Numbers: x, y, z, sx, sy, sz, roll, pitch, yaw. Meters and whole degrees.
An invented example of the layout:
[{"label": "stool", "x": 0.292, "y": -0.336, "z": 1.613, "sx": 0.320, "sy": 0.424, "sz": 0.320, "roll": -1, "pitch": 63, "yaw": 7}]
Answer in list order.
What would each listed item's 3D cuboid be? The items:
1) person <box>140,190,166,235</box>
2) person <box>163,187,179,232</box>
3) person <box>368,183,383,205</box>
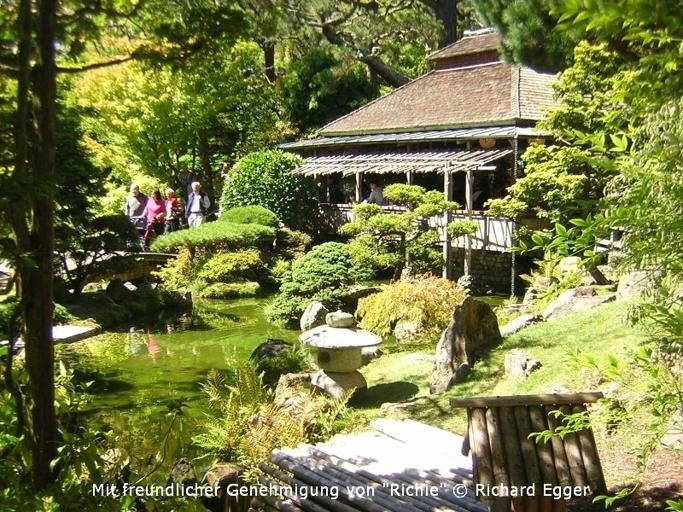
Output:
[{"label": "person", "x": -5.822, "y": -1.344, "z": 19.380, "sx": 0.680, "sy": 1.398, "sz": 0.835, "roll": -4, "pitch": 4, "yaw": -18}, {"label": "person", "x": -5.228, "y": -1.407, "z": 19.188, "sx": 0.474, "sy": 1.293, "sz": 1.259, "roll": -4, "pitch": 4, "yaw": -11}, {"label": "person", "x": 1.046, "y": -1.854, "z": 19.073, "sx": 0.460, "sy": 0.645, "sz": 1.340, "roll": -3, "pitch": 4, "yaw": 4}]
